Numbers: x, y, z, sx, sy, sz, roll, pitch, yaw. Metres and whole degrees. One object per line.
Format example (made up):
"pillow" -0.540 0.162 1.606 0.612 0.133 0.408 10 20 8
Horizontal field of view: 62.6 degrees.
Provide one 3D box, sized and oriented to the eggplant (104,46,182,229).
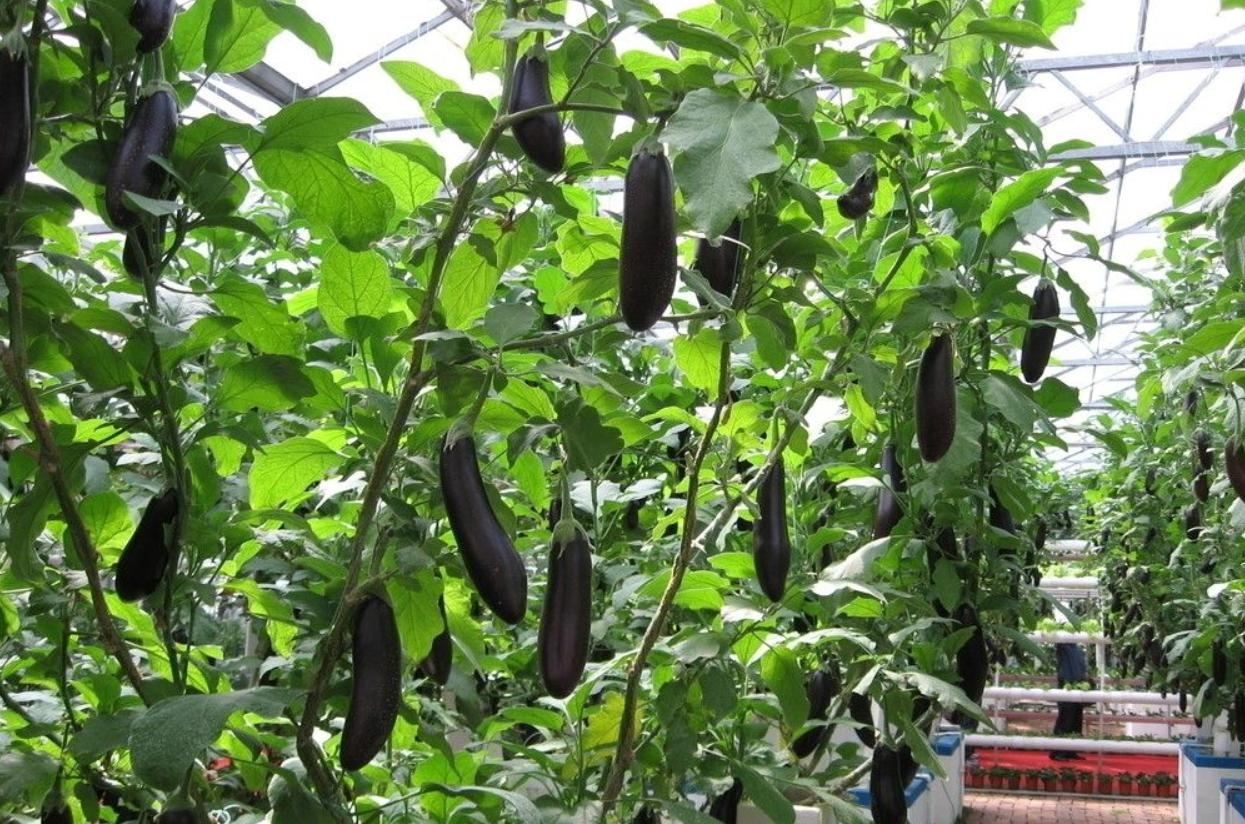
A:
"eggplant" -0.542 -0.330 1.230 0.063 0.208 0.060 25 -25 -14
